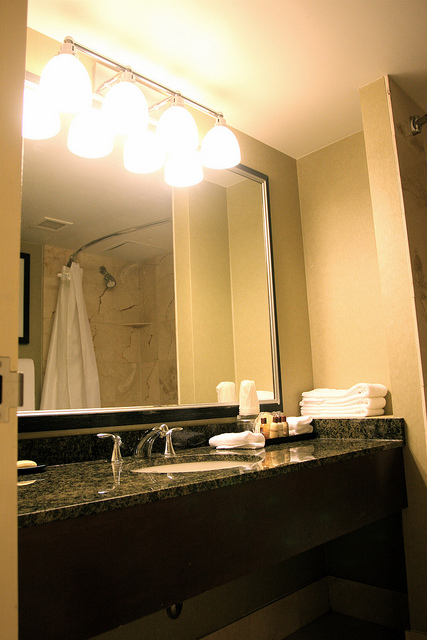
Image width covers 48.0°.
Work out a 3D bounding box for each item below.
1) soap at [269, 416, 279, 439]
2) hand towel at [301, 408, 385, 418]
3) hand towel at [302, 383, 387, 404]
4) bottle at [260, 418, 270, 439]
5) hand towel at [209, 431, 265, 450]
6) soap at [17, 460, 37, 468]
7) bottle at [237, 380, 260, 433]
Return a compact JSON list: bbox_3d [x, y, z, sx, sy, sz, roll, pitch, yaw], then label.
[{"bbox_3d":[0.230,0.408,1.828,0.052,0.078,0.018,2,-8,-45],"label":"soap"},{"bbox_3d":[0.524,0.396,2.079,0.380,0.040,0.140,-9,-8,38],"label":"hand towel"},{"bbox_3d":[0.550,0.321,2.072,0.165,0.059,0.176,-9,-8,44],"label":"hand towel"},{"bbox_3d":[0.193,0.410,1.819,0.035,0.074,0.040,-5,-6,12],"label":"bottle"},{"bbox_3d":[0.071,0.417,1.663,0.194,0.061,0.090,-7,-6,24],"label":"hand towel"},{"bbox_3d":[-0.464,0.362,1.203,0.042,0.014,0.035,-2,-6,-18],"label":"soap"},{"bbox_3d":[0.135,0.362,1.842,0.086,0.220,0.088,3,-27,1],"label":"bottle"}]
